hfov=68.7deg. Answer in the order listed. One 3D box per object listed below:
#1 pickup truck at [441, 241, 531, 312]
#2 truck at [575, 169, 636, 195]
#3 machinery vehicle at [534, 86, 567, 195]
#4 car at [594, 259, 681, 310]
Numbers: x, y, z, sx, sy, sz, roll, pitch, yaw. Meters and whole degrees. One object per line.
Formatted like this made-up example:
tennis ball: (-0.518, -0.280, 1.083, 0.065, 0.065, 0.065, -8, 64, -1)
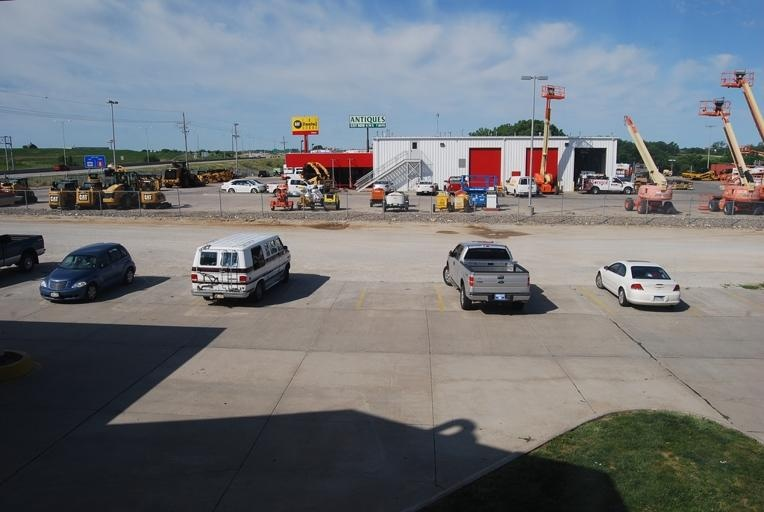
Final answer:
pickup truck: (3.919, 0.646, 20.993, 2.425, 2.085, 6.205, 0, 1, 3)
truck: (25.559, -8.345, 62.504, 5.094, 1.627, 2.824, 0, 15, 9)
machinery vehicle: (18.343, -12.831, 62.640, 4.772, 11.860, 4.847, -1, 6, -15)
car: (9.857, 1.032, 21.629, 1.656, 1.533, 2.799, -3, 11, -11)
